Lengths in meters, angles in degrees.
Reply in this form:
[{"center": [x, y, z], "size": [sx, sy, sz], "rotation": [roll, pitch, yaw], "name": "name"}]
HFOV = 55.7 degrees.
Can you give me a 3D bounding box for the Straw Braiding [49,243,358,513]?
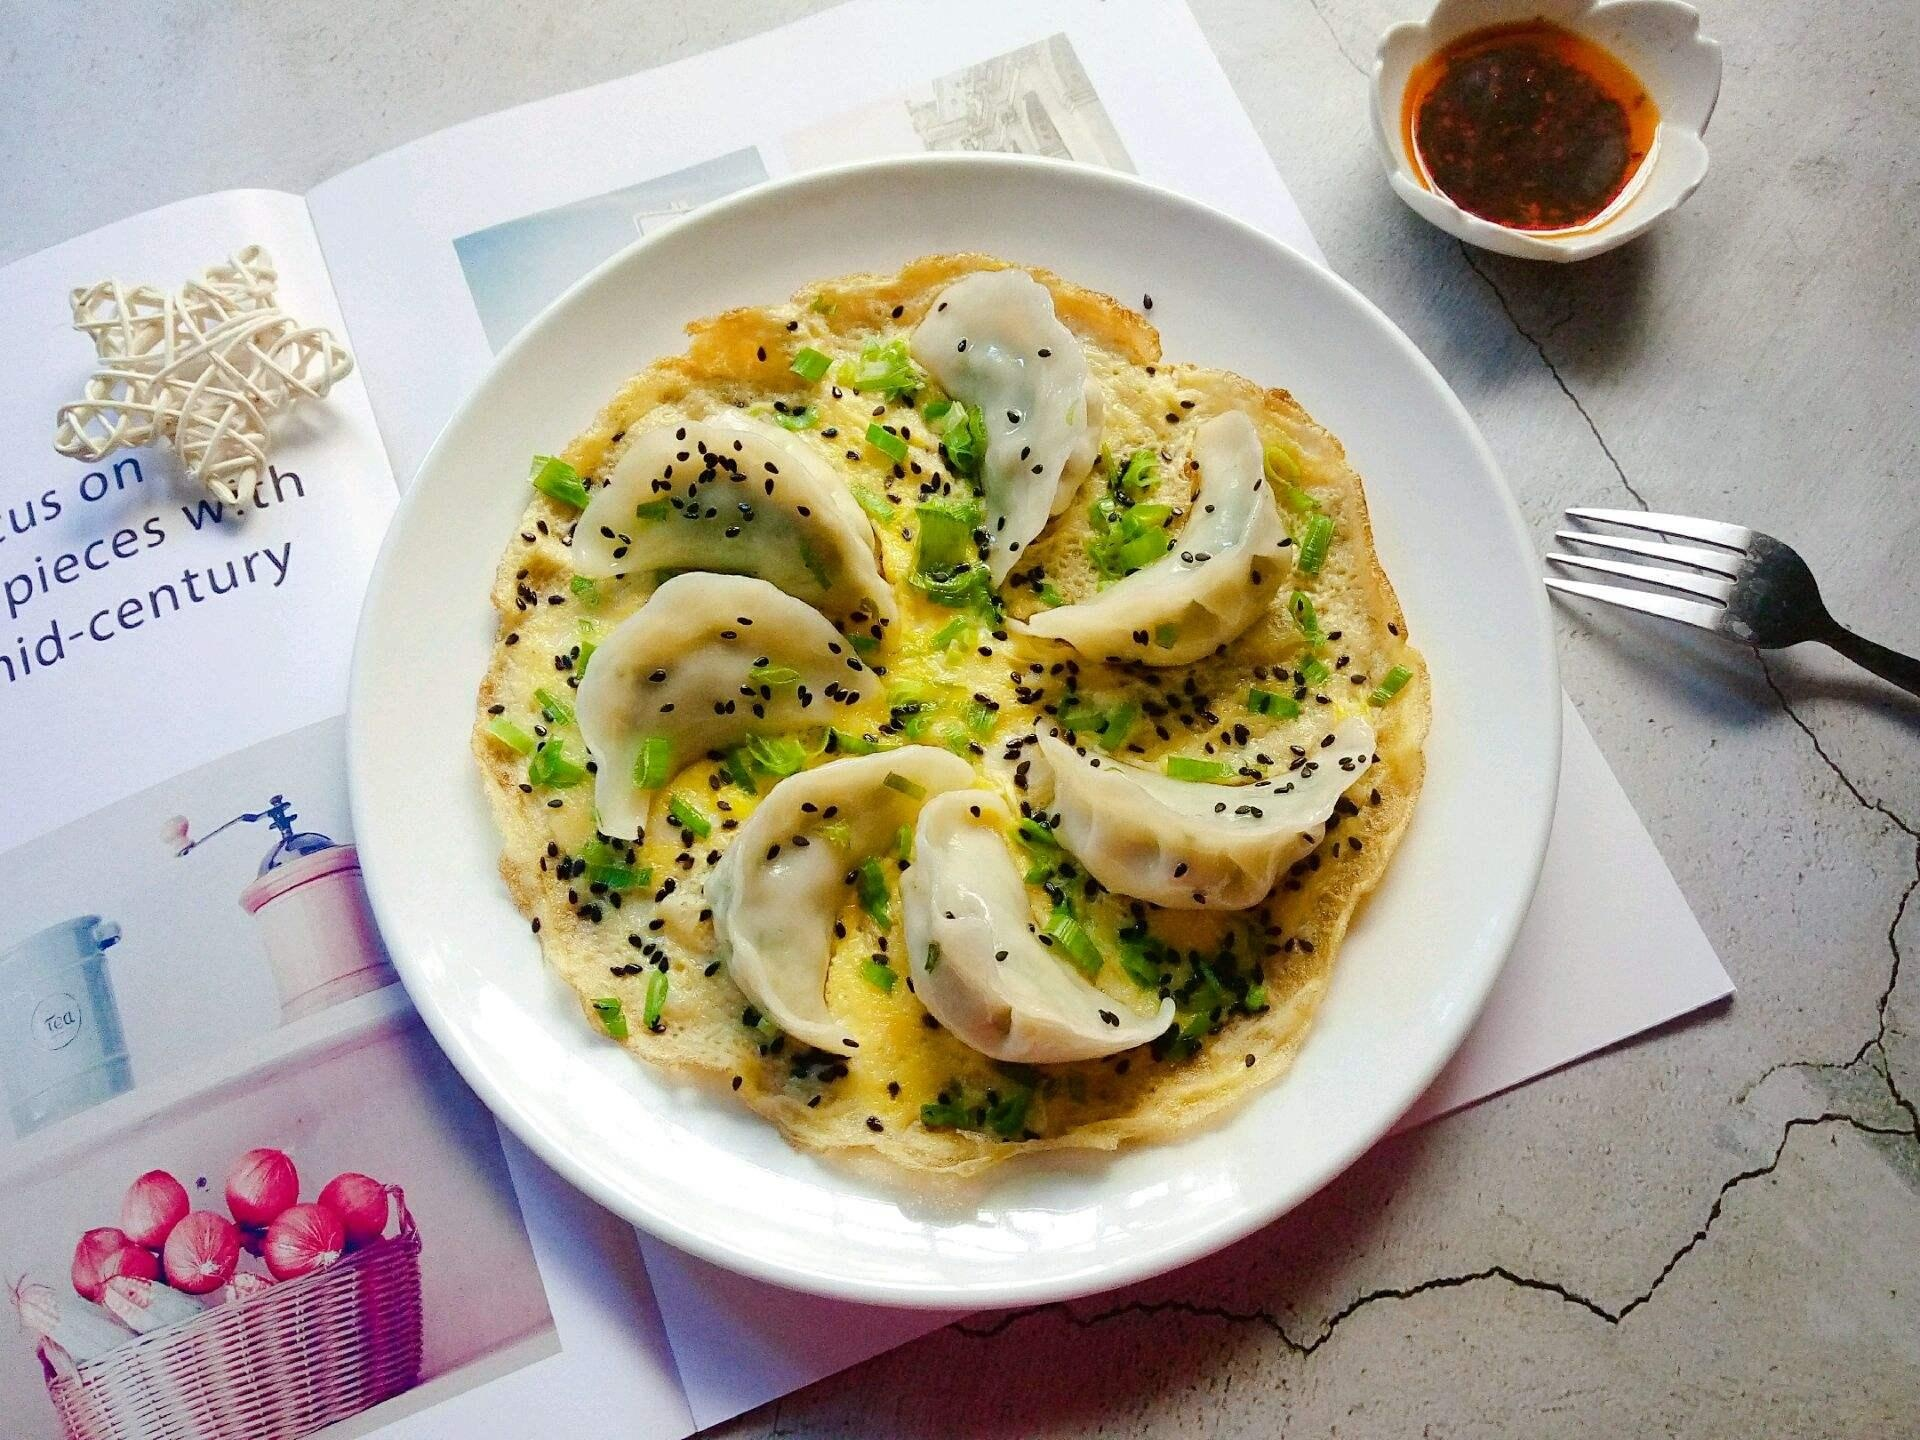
[{"center": [-1.601, -0.708, 3.826], "size": [0.626, 0.521, 0.256], "rotation": [-24, 12, -17], "name": "Straw Braiding"}]
